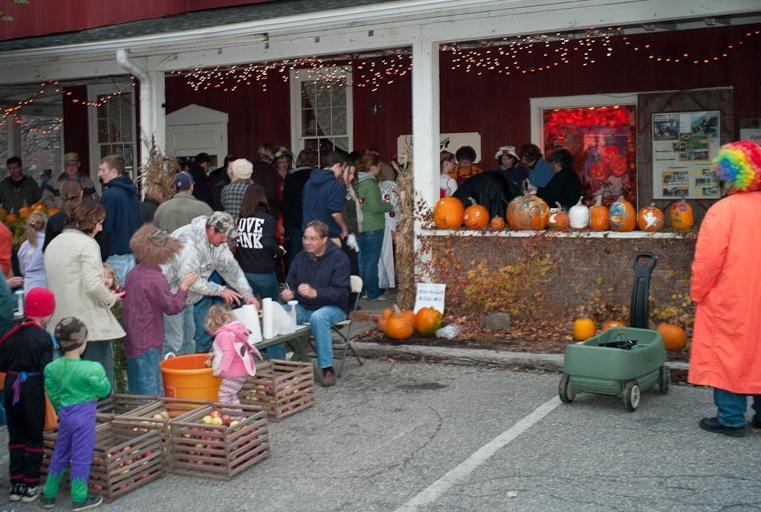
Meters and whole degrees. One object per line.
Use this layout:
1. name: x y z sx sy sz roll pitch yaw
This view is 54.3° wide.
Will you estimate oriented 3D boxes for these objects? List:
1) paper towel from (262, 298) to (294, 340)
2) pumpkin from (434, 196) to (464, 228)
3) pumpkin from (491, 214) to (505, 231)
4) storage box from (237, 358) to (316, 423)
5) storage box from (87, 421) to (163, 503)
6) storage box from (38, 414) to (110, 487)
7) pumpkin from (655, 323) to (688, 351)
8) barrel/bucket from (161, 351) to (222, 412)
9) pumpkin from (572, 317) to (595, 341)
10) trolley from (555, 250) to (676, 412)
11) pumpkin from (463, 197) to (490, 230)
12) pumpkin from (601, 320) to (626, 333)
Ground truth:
1. paper towel: -1.060 0.683 8.216 0.345 0.432 0.440 6 8 44
2. pumpkin: 0.906 -0.559 10.506 0.409 0.503 0.404 13 -31 -17
3. pumpkin: 1.583 -0.470 10.206 0.187 0.180 0.191 2 13 42
4. storage box: -1.149 1.342 7.958 0.883 0.505 0.664 0 12 -22
5. storage box: -2.284 1.775 6.475 0.566 0.433 0.580 -1 -1 28
6. storage box: -2.584 1.573 6.200 0.519 0.596 0.440 -5 19 -20
7. pumpkin: 3.532 0.940 9.050 0.401 0.375 0.410 6 -1 31
8. barrel/bucket: -1.932 1.251 7.444 0.511 0.384 0.538 -2 -3 0
9. pumpkin: 2.534 0.899 9.362 0.271 0.278 0.275 -5 5 -5
10. trolley: 2.540 0.770 7.936 0.793 1.509 1.304 3 7 44
11. pumpkin: 1.315 -0.578 10.326 0.339 0.479 0.337 -10 -1 23
12. pumpkin: 2.731 0.831 8.744 0.156 0.157 0.160 -5 2 41
